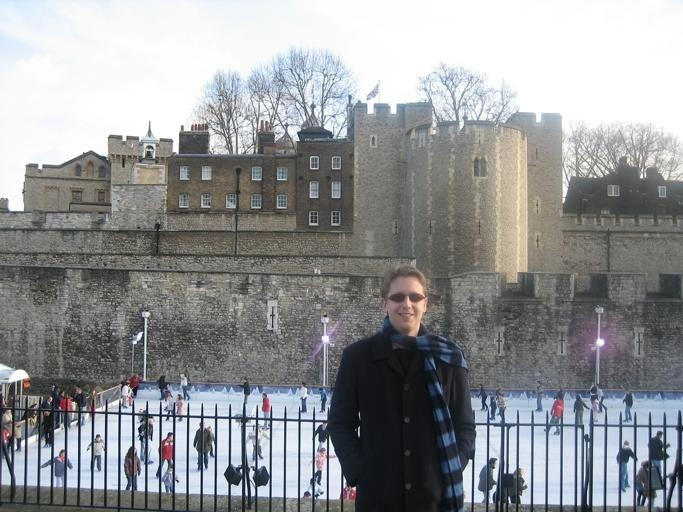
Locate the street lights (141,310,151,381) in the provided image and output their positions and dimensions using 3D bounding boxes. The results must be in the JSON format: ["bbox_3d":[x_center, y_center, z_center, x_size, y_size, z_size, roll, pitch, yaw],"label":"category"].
[{"bbox_3d":[-10.725,4.986,90.297,0.512,3.809,0.801,1,-4,-9],"label":"street lights"}]
